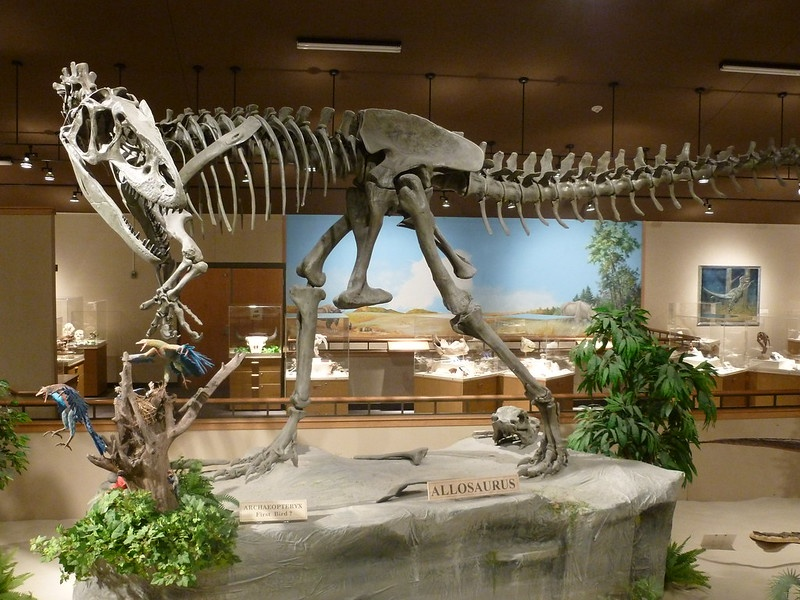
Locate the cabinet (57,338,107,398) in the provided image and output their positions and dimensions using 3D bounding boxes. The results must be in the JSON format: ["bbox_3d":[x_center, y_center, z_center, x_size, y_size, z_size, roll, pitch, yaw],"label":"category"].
[{"bbox_3d":[-3.660,0.738,7.079,0.473,0.598,0.911,0,1,-6],"label":"cabinet"}]

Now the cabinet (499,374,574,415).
[{"bbox_3d":[1.619,0.951,6.783,0.594,0.557,0.578,1,-3,-31],"label":"cabinet"}]

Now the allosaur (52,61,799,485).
[{"bbox_3d":[-0.443,-0.456,5.418,4.441,2.890,3.520,-1,0,-27],"label":"allosaur"}]
